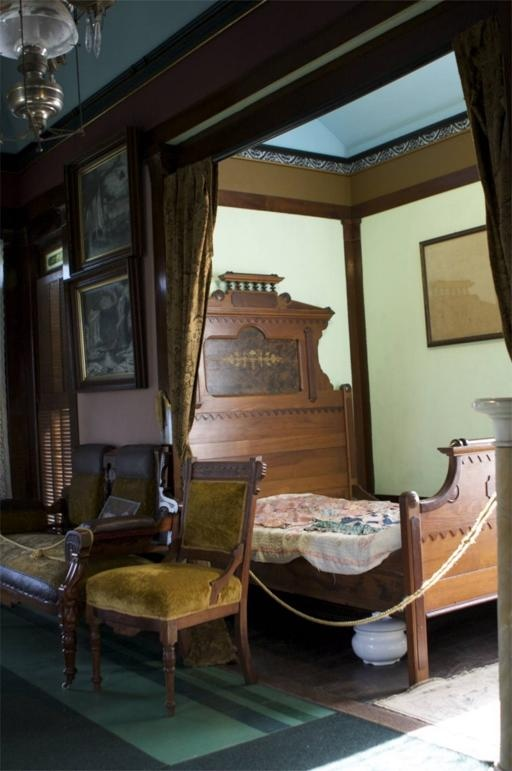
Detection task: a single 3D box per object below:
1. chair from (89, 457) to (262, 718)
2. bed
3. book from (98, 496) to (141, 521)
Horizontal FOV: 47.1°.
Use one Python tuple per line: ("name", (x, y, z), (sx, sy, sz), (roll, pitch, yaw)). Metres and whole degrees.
("chair", (-0.406, 0.937, 2.989), (0.667, 1.078, 0.757), (-6, -9, 41))
("bed", (0.749, 0.422, 4.423), (1.880, 2.785, 2.162), (-4, -6, -36))
("book", (-0.905, 0.818, 3.902), (0.310, 0.222, 0.025), (-3, -44, 35))
